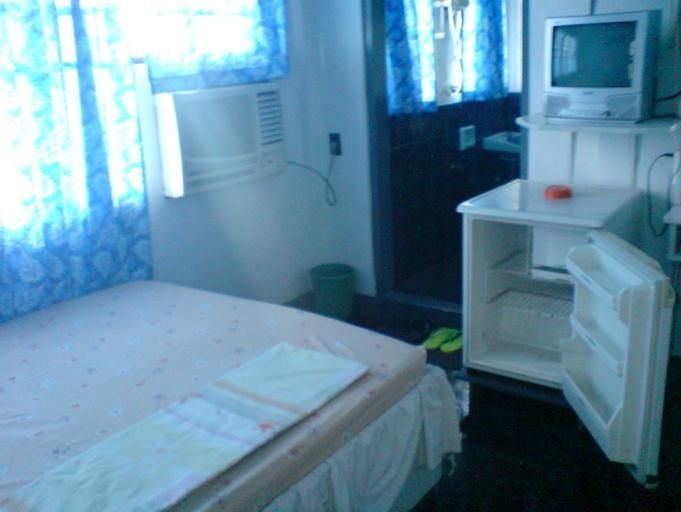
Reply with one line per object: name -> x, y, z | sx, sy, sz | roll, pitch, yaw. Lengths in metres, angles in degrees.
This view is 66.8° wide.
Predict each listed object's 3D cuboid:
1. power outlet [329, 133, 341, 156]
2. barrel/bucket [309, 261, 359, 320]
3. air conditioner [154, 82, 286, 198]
power outlet -> -0.047, -0.790, 3.657 | 0.105, 0.163, 0.050 | 3, 21, 23
barrel/bucket -> -0.074, 0.206, 3.670 | 0.373, 0.396, 0.364 | 0, 24, 0
air conditioner -> -0.709, -0.737, 3.196 | 0.212, 0.601, 0.985 | 8, 22, 34
